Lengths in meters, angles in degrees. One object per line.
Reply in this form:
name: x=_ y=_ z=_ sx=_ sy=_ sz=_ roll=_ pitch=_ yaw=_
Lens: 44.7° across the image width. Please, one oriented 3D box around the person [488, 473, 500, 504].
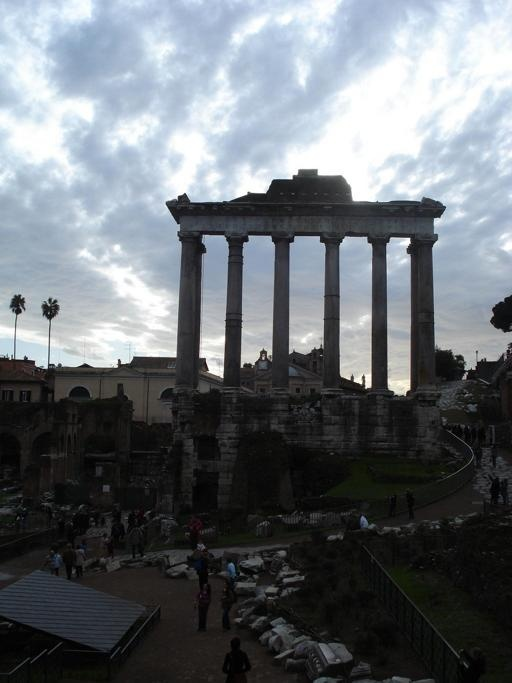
person: x=9.385 y=5.911 z=24.557 sx=0.362 sy=0.936 sz=1.317 roll=-2 pitch=-7 yaw=21
